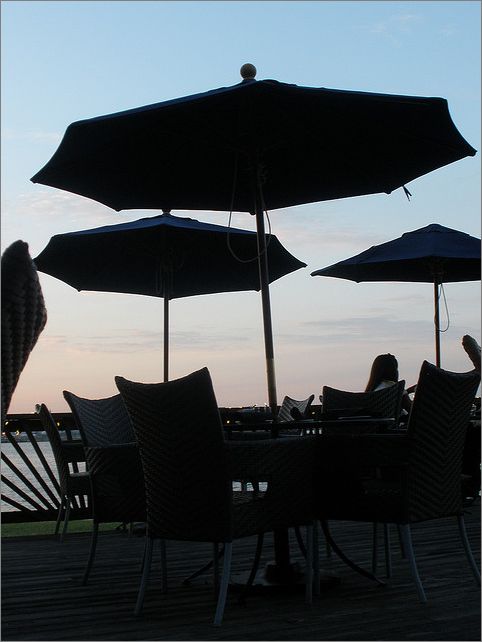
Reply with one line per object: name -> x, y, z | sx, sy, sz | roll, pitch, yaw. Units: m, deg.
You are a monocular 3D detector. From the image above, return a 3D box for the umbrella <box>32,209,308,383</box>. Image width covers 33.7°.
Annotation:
umbrella -> -0.660, -0.429, 6.410 | 1.423, 1.114, 1.545 | 1, -16, 0

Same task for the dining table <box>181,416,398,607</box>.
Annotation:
dining table -> 0.356, 0.797, 3.574 | 0.908, 0.775, 0.867 | 3, -18, -12

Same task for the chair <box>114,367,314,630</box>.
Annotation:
chair -> -0.091, 0.721, 3.268 | 0.546, 0.989, 0.691 | -6, -7, 33

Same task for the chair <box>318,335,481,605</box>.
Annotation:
chair -> 0.688, 0.674, 3.367 | 0.730, 1.018, 0.419 | -1, 5, 3
